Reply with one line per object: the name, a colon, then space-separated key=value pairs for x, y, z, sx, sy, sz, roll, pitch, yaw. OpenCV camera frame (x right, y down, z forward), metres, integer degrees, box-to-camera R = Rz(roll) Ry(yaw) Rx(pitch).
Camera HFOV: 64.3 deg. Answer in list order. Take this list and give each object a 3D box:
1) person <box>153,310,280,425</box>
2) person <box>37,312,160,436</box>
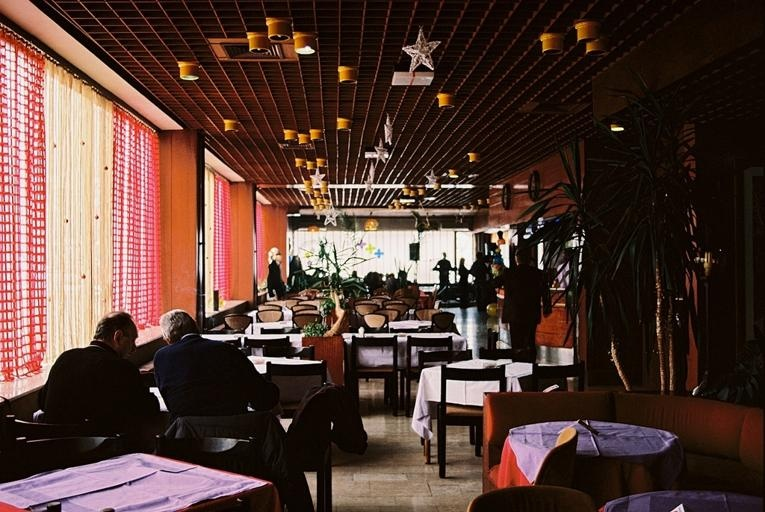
person: x=-1.249 y=0.813 z=4.426 sx=0.935 sy=0.734 sz=0.499 roll=3 pitch=6 yaw=1
person: x=-2.295 y=0.935 z=4.789 sx=0.917 sy=0.860 sz=0.576 roll=6 pitch=3 yaw=18
